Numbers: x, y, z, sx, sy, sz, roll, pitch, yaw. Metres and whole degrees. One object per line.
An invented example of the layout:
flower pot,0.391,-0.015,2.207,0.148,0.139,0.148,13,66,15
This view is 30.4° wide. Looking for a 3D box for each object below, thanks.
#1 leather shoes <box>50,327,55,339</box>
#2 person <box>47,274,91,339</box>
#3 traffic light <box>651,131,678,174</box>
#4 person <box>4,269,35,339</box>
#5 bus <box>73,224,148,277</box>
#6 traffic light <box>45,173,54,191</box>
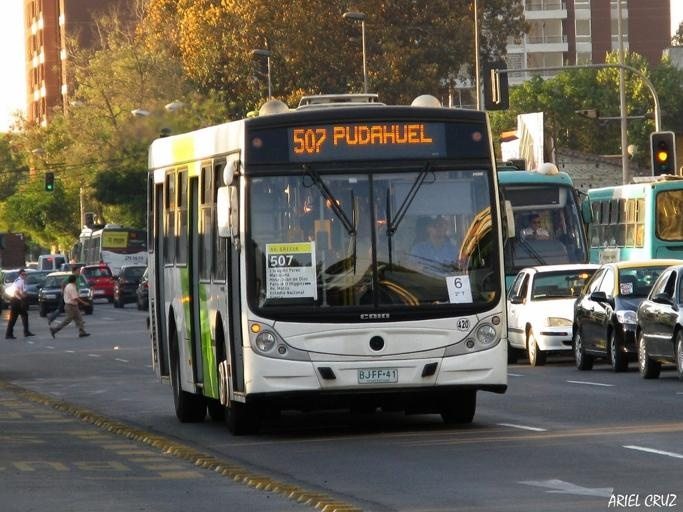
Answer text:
leather shoes,-8.985,2.371,39.078,0.110,0.292,0.085,-18,-1,-1
person,-8.348,1.538,38.492,1.187,1.902,0.802,-2,-4,-21
traffic light,7.657,-2.472,30.072,0.533,0.806,0.727,-3,1,11
person,-10.341,1.549,39.794,1.265,2.585,0.855,0,0,3
bus,-13.519,-0.374,74.430,2.637,3.353,8.171,0,-1,-23
traffic light,-16.529,-4.280,71.339,0.376,1.071,1.646,-3,0,-8
